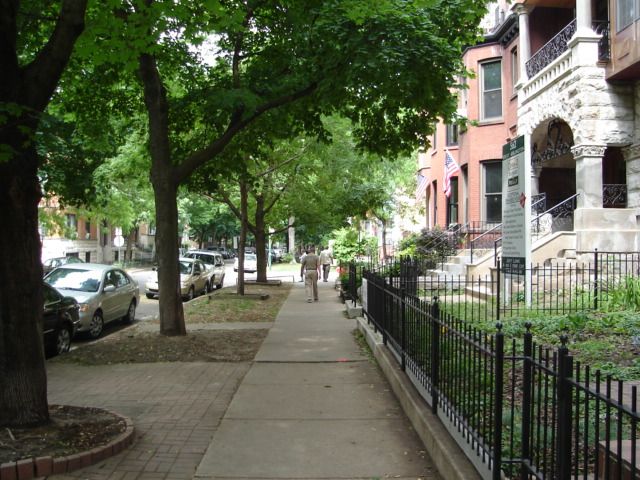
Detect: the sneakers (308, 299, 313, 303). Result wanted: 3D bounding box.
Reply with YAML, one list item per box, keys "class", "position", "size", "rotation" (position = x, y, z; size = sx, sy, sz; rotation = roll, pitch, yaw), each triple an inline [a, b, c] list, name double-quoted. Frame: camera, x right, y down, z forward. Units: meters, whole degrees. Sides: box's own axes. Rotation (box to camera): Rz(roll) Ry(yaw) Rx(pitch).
- class: "sneakers"
  position: [-0.301, 1.929, 21.348]
  size: [0.086, 0.114, 0.270]
  rotation: [0, -6, -8]

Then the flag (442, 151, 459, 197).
- class: "flag"
  position: [5.440, -2.785, 27.536]
  size: [0.597, 1.934, 2.200]
  rotation: [-1, 8, 12]

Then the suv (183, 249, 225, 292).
- class: "suv"
  position: [-5.314, 1.214, 31.402]
  size: [1.180, 1.081, 2.311]
  rotation: [0, -8, 1]
